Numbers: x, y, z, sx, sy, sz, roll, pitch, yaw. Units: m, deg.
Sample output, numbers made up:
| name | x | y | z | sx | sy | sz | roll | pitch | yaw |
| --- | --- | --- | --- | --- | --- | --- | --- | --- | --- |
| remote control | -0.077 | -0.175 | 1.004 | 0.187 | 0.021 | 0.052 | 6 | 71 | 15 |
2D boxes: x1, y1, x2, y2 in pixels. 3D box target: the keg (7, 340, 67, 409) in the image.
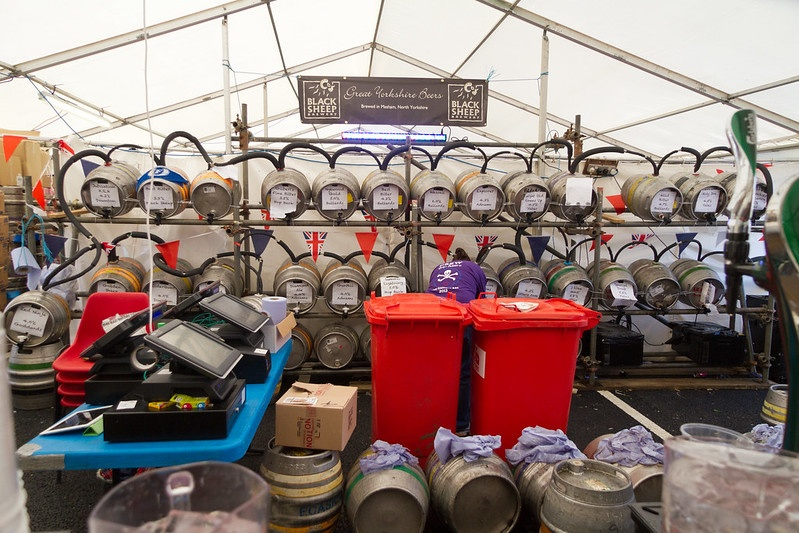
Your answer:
| name | x | y | z | sx | sy | sz | roll | pitch | yaw |
| --- | --- | --- | --- | --- | --- | --- | --- | --- | --- |
| keg | -3.739 | 1.119 | 5.880 | 0.499 | 0.685 | 0.290 | -1 | 5 | -25 |

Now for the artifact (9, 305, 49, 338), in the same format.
| name | x | y | z | sx | sy | sz | roll | pitch | yaw |
| --- | --- | --- | --- | --- | --- | --- | --- | --- | --- |
| artifact | -3.692 | 0.552 | 5.718 | 0.309 | 0.296 | 0.083 | 17 | 0 | -7 |

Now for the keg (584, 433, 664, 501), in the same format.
| name | x | y | z | sx | sy | sz | roll | pitch | yaw |
| --- | --- | --- | --- | --- | --- | --- | --- | --- | --- |
| keg | 1.747 | 1.531 | 4.330 | 0.461 | 0.463 | 0.445 | -7 | 8 | -38 |

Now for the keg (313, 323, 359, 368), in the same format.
| name | x | y | z | sx | sy | sz | roll | pitch | yaw |
| --- | --- | --- | --- | --- | --- | --- | --- | --- | --- |
| keg | -0.727 | 0.909 | 6.733 | 0.482 | 0.463 | 0.449 | 22 | 3 | -4 |

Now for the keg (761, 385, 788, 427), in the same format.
| name | x | y | z | sx | sy | sz | roll | pitch | yaw |
| --- | --- | --- | --- | --- | --- | --- | --- | --- | --- |
| keg | 3.768 | 1.367 | 5.762 | 0.172 | 0.444 | 0.478 | 3 | 4 | 28 |

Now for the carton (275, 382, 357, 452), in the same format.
| name | x | y | z | sx | sy | sz | roll | pitch | yaw |
| --- | --- | --- | --- | --- | --- | --- | --- | --- | --- |
| carton | -0.600 | 1.085 | 4.366 | 0.537 | 0.351 | 0.529 | 3 | 4 | 15 |
